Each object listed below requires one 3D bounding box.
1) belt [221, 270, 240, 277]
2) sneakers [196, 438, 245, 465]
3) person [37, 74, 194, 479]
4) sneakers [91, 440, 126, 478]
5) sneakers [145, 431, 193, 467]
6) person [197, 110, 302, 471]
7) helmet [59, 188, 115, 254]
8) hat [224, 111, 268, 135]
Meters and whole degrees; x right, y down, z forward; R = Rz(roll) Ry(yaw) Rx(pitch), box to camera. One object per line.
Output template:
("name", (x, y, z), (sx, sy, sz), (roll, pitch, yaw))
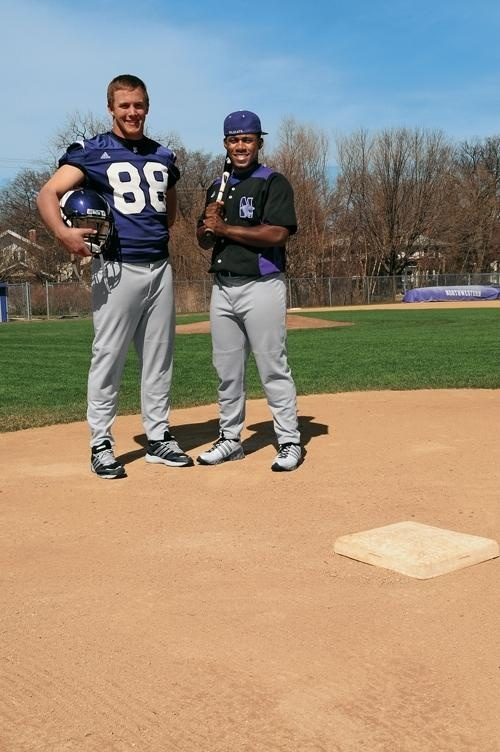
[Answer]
("belt", (-0.112, -0.555, 3.821), (0.034, 0.037, 0.132), (-5, 7, -43))
("sneakers", (-0.153, 0.431, 4.130), (0.316, 0.145, 0.113), (-3, 5, -43))
("person", (-0.681, -0.515, 3.816), (0.864, 2.091, 0.401), (-5, 8, -42))
("sneakers", (-0.771, 0.453, 3.777), (0.111, 0.135, 0.295), (-4, 7, -31))
("sneakers", (-0.465, 0.423, 4.091), (0.357, 0.175, 0.129), (6, 6, 39))
("person", (-0.011, -0.444, 3.913), (0.617, 1.912, 0.475), (2, 6, 15))
("helmet", (-0.830, -0.791, 3.583), (0.257, 0.312, 0.324), (0, 14, -33))
("hat", (-0.036, -1.323, 3.705), (0.186, 0.122, 0.142), (0, 5, -4))
